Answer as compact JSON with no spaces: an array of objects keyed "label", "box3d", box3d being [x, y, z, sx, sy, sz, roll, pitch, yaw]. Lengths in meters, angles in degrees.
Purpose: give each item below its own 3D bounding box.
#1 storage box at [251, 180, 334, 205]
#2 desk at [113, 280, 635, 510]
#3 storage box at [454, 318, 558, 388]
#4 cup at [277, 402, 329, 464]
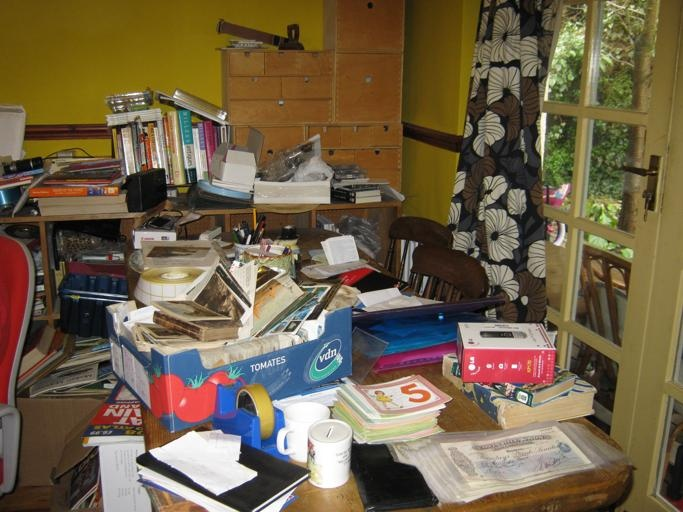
[{"label":"storage box","box3d":[-0.293,-0.400,2.958,0.527,0.119,0.359,-2,18,-14]},{"label":"desk","box3d":[0.014,0.337,1.280,1.225,0.394,0.592,-3,13,-9]},{"label":"storage box","box3d":[0.440,0.258,1.417,0.260,0.094,0.193,-3,18,-1]},{"label":"cup","box3d":[-0.079,0.394,1.196,0.103,0.114,0.181,2,13,17]}]
